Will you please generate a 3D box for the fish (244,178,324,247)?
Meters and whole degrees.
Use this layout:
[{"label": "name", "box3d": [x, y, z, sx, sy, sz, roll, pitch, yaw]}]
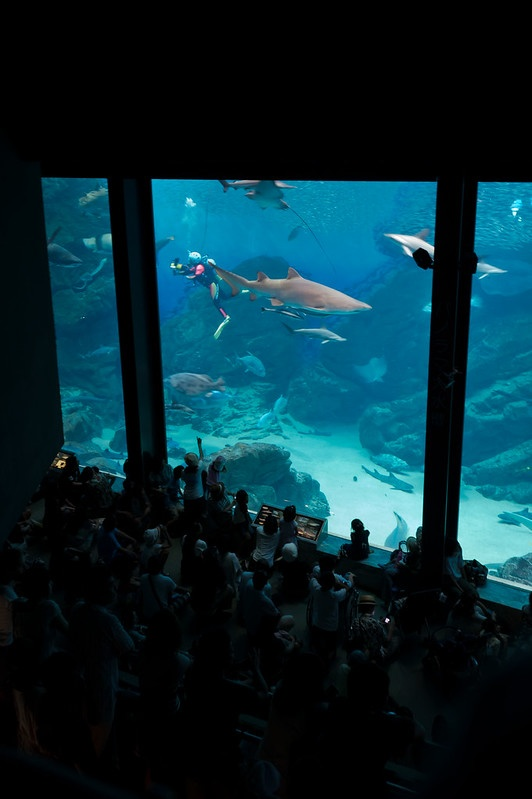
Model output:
[{"label": "fish", "box3d": [0.182, -2.283, 7.238, 0.842, 0.300, 0.643, 22, -11, -23]}]
